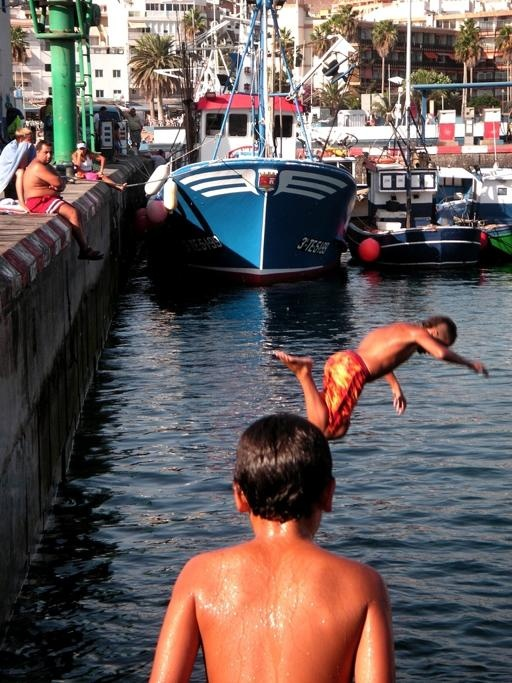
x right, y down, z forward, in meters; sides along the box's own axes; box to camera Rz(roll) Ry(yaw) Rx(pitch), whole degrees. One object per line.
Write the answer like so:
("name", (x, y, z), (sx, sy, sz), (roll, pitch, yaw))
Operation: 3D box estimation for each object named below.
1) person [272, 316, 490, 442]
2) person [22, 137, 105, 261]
("person", (1.300, 0.385, 10.075), (1.393, 1.265, 0.676), (38, -9, -10))
("person", (-2.088, -1.426, 10.476), (0.703, 1.191, 1.068), (-1, 9, -5))
